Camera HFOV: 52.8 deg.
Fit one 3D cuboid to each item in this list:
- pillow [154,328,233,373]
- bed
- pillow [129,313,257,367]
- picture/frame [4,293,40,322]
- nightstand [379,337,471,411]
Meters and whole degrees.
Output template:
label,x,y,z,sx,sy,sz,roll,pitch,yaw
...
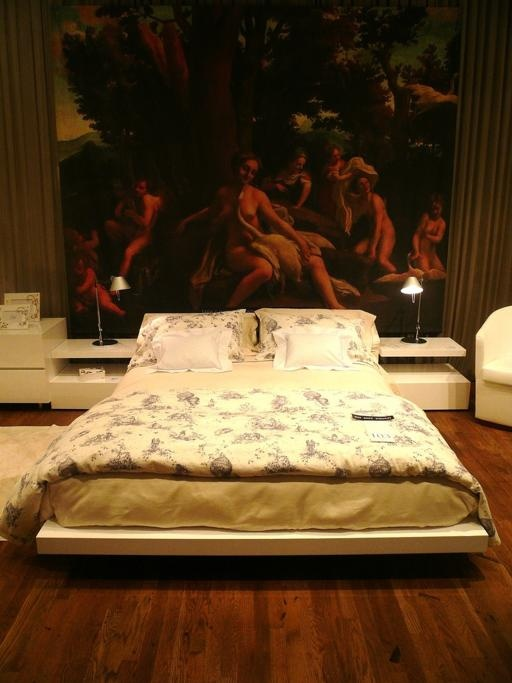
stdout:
label,x,y,z,sx,sy,sz,roll,pitch,yaw
pillow,-0.436,0.065,3.481,0.412,0.102,0.321,0,39,-3
bed,-0.027,0.510,2.516,1.909,0.421,1.329,0,11,3
pillow,-0.452,-0.084,3.714,0.556,0.147,0.578,-1,30,2
picture/frame,-1.786,-0.255,3.922,0.239,0.188,0.031,0,-14,-1
nightstand,1.318,0.284,4.108,0.696,0.435,0.656,0,18,2
